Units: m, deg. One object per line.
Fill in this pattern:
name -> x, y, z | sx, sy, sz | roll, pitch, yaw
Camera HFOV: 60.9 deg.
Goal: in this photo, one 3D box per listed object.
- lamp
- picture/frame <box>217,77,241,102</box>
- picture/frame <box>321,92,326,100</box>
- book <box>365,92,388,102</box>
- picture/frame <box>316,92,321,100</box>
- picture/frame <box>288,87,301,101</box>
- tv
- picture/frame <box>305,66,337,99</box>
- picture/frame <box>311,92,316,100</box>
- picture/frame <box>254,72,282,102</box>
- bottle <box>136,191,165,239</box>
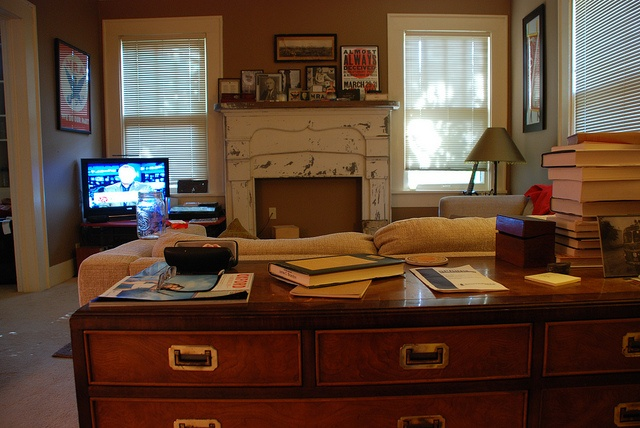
lamp -> 1.616, -0.492, 5.182 | 0.507, 0.675, 0.642 | -2, 9, 3
picture/frame -> -0.932, -1.301, 5.628 | 0.319, 0.337, 0.027 | 0, 0, -3
picture/frame -> 0.031, -1.211, 5.535 | 0.092, 0.082, 0.046 | 0, 11, -2
book -> 0.560, -1.180, 5.448 | 0.219, 0.077, 0.061 | -2, 9, 2
picture/frame -> -0.010, -1.211, 5.529 | 0.063, 0.054, 0.015 | -3, -2, -8
picture/frame -> -0.267, -1.226, 5.548 | 0.148, 0.113, 0.099 | 0, 9, 12
tv -> -1.871, -0.230, 5.058 | 0.703, 0.537, 0.095 | -2, 4, -20
picture/frame -> 0.009, -1.371, 5.618 | 0.408, 0.451, 0.034 | 0, 0, -3
picture/frame -> -0.073, -1.206, 5.532 | 0.076, 0.069, 0.055 | 1, 28, -2
picture/frame -> -0.540, -1.317, 5.625 | 0.366, 0.339, 0.046 | 0, 3, -5
bottle -> -1.107, -0.009, 3.487 | 0.214, 0.315, 0.199 | 3, 15, -1
